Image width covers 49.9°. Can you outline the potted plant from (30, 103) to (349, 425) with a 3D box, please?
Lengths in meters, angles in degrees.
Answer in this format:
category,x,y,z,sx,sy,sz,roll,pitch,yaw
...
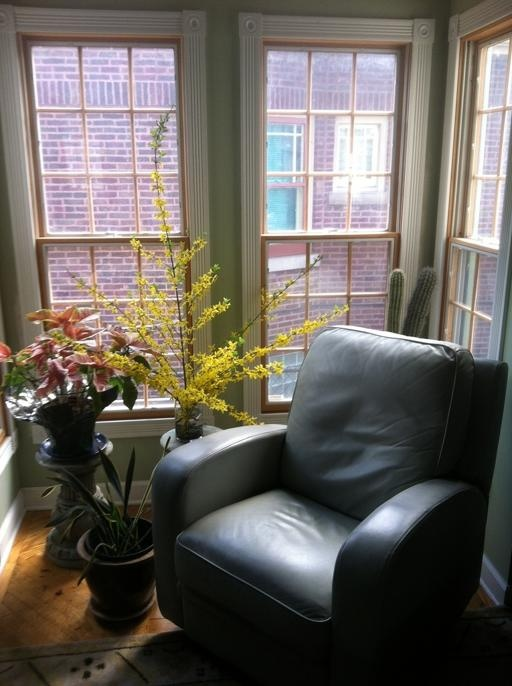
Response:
category,x,y,z,sx,sy,sz,roll,pitch,yaw
potted plant,-0.307,-0.232,2.215,1.031,1.072,0.889,-11,-13,28

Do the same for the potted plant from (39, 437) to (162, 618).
category,x,y,z,sx,sy,sz,roll,pitch,yaw
potted plant,-0.551,0.648,1.951,0.323,0.613,0.613,-8,19,-21
